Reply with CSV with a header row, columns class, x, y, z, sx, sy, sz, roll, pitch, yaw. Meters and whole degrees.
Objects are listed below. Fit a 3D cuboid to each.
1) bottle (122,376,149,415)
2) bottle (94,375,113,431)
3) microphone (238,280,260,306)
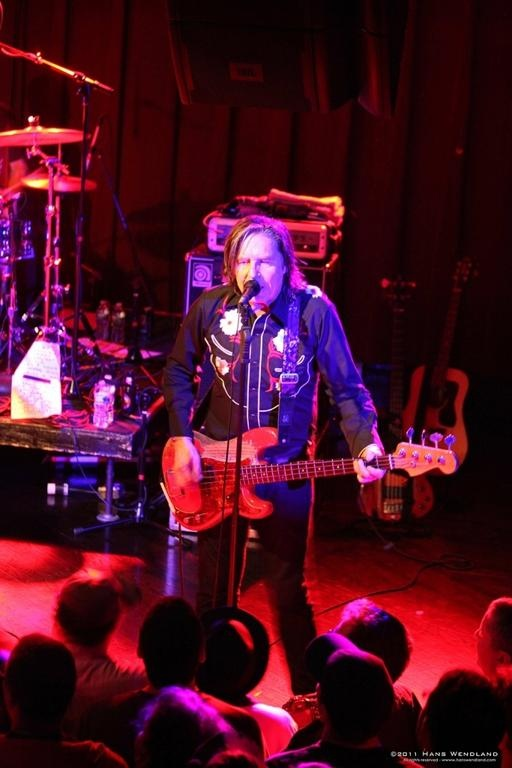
class,x,y,z,sx,sy,sz,roll,pitch,yaw
bottle,-0.657,0.076,3.616,0.137,0.218,0.054,-13,-4,2
bottle,-0.803,0.090,3.539,0.115,0.209,0.332,0,13,-12
microphone,-0.015,-0.237,1.734,0.028,0.028,0.105,25,30,0
